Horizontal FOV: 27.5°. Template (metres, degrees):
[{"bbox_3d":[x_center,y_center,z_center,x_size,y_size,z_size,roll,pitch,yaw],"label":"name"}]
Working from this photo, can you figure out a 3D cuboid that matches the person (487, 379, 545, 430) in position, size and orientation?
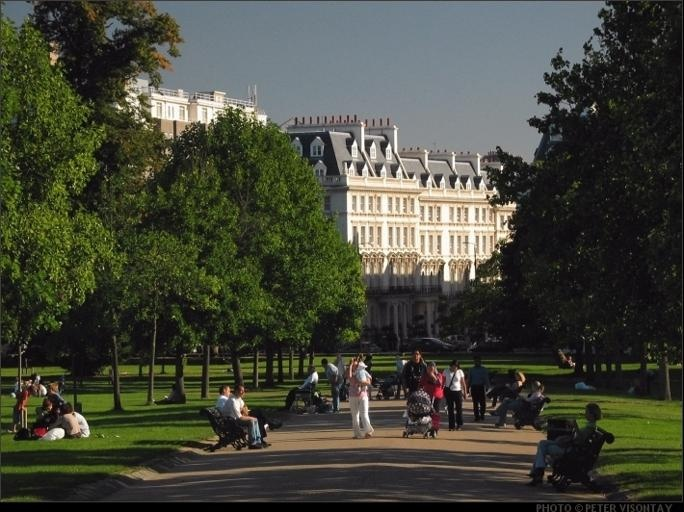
[{"bbox_3d":[5.957,4.942,47.330,1.392,1.868,1.089,10,0,-12],"label":"person"}]

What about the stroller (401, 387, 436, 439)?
[{"bbox_3d":[2.323,4.907,44.291,0.952,1.456,1.067,0,-1,-8],"label":"stroller"}]

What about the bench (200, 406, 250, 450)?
[{"bbox_3d":[-3.560,5.237,43.024,1.599,1.394,1.556,-1,5,-11],"label":"bench"}]

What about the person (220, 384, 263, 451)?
[{"bbox_3d":[-3.093,4.928,43.016,1.216,1.960,1.095,2,1,-7],"label":"person"}]

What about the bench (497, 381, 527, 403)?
[{"bbox_3d":[5.990,4.614,49.008,1.037,1.042,0.888,3,-9,-5],"label":"bench"}]

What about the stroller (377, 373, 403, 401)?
[{"bbox_3d":[1.747,5.690,60.710,1.128,1.178,0.845,-6,-6,40],"label":"stroller"}]

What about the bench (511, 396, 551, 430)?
[{"bbox_3d":[6.334,5.129,47.203,1.072,1.122,0.901,9,8,20],"label":"bench"}]

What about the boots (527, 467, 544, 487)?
[{"bbox_3d":[5.056,5.762,36.732,0.378,0.486,0.407,-2,-8,7],"label":"boots"}]

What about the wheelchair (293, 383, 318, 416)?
[{"bbox_3d":[-1.484,5.380,53.438,0.919,1.499,0.821,1,-8,2],"label":"wheelchair"}]
